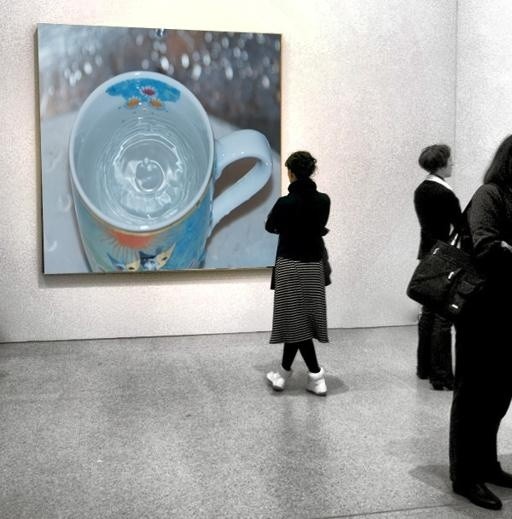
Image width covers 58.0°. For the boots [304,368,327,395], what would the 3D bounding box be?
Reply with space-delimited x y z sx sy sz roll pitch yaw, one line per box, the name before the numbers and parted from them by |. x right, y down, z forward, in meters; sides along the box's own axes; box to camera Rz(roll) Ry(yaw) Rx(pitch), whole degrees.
boots | 0.415 0.810 3.119 0.074 0.151 0.212 -4 19 -8

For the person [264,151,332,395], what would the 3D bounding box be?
person | 0.283 0.095 3.084 0.405 1.608 0.382 0 1 11

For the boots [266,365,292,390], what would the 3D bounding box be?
boots | 0.151 0.792 3.202 0.098 0.148 0.214 8 24 -15

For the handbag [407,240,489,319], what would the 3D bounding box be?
handbag | 0.674 0.075 1.647 0.254 0.271 0.128 1 1 28
